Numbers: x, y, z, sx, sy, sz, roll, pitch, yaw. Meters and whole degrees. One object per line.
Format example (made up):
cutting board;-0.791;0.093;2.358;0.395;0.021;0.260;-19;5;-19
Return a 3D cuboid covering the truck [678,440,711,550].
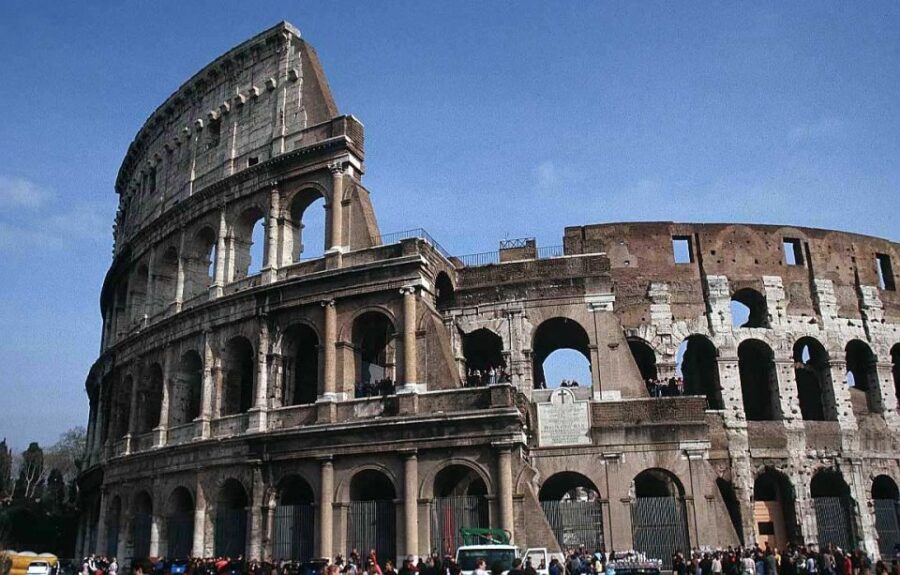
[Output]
truck;12.306;10.383;40.376;0.836;5.027;1.024;10;-25;-29
